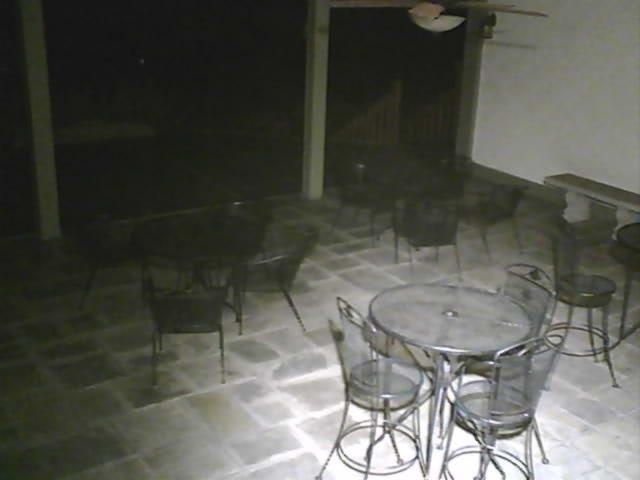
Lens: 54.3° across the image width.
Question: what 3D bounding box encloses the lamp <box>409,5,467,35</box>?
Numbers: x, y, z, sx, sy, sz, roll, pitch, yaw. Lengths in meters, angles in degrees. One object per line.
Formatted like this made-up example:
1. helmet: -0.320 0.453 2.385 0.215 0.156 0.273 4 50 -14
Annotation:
1. lamp: 0.876 -1.722 4.801 0.344 0.200 0.373 13 22 28
